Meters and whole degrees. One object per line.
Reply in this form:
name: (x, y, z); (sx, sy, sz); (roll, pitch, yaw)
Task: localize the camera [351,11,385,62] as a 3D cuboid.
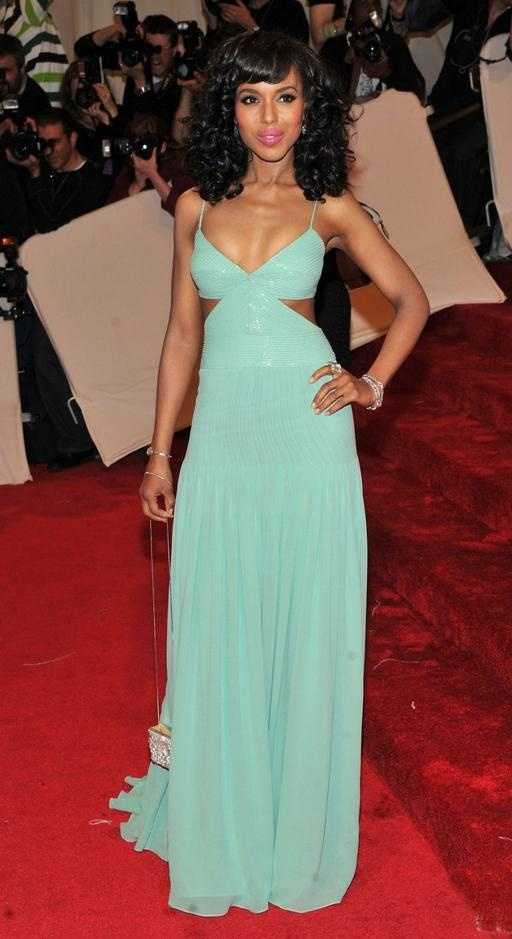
camera: (0.641, -2.460, 3.911); (0.186, 0.188, 0.084); (-42, 19, -5)

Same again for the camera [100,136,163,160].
camera: (-0.758, -1.949, 4.140); (0.210, 0.105, 0.224); (2, 15, -3)

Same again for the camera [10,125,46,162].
camera: (-1.442, -2.087, 4.376); (0.176, 0.204, 0.206); (0, 27, -6)
